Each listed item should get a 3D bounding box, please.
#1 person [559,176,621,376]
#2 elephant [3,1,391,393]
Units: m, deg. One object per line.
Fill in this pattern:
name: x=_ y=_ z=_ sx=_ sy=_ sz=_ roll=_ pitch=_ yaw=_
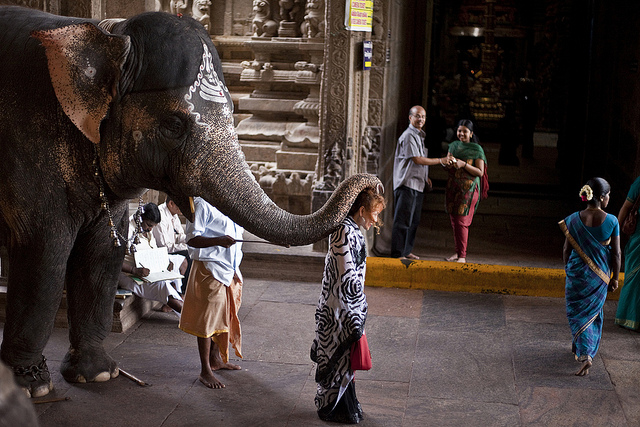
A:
person: x=2.968 y=0.646 z=6.422 sx=0.612 sy=2.029 sz=0.657 roll=-2 pitch=14 yaw=-19
elephant: x=-1.938 y=-0.488 z=6.238 sx=4.631 sy=2.995 sz=2.477 roll=10 pitch=12 yaw=14
